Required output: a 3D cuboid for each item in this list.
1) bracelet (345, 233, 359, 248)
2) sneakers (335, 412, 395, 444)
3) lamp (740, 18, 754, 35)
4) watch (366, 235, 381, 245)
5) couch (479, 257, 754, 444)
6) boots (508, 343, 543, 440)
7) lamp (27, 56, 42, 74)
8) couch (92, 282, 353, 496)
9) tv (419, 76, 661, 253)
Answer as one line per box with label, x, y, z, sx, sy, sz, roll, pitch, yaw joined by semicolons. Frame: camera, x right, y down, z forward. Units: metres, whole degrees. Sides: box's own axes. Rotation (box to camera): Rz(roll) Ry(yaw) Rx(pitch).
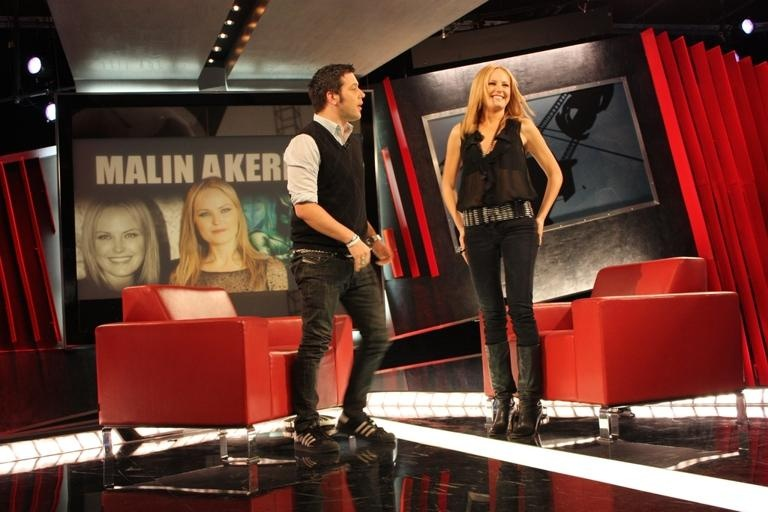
bracelet;-0.175;-0.079;3.499;0.078;0.029;0.064;-42;8;4
sneakers;-0.118;1.058;3.782;0.437;0.171;0.139;4;-4;11
lamp;4.016;-2.529;6.799;0.102;0.171;0.177;-5;-15;11
watch;-0.073;-0.089;3.830;0.076;0.051;0.081;-30;-8;38
couch;1.490;0.514;4.158;1.331;1.189;1.323;4;-12;-29
boots;0.870;0.830;3.743;0.243;0.548;0.153;-4;-8;2
lamp;-3.916;-2.132;6.861;0.149;0.188;0.065;-1;-8;-19
couch;-0.914;0.676;3.921;1.191;1.322;1.517;-3;-4;21
tv;1.240;-0.664;4.888;1.590;1.052;0.052;-11;-8;1
